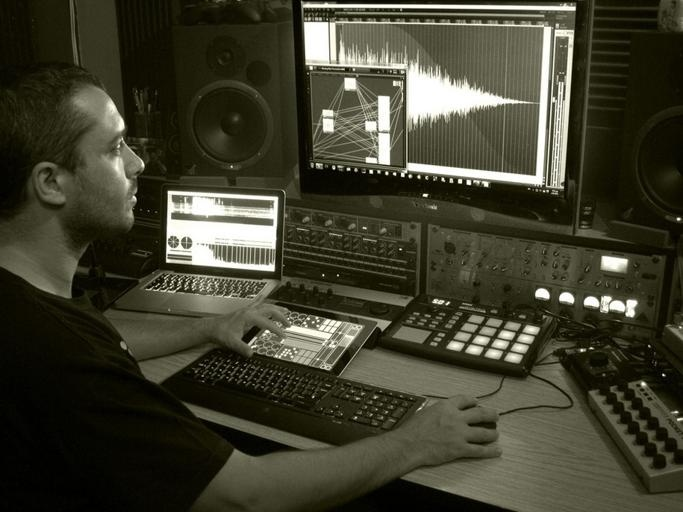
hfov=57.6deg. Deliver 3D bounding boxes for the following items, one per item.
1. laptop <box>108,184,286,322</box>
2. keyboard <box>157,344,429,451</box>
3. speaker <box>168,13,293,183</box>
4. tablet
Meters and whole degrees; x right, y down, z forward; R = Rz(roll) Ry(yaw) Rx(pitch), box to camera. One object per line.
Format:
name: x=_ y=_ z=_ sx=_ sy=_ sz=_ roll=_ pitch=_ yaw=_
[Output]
laptop: x=-0.443 y=-0.026 z=2.167 sx=0.564 sy=0.452 sz=0.381 roll=-2 pitch=18 yaw=-8
keyboard: x=-0.163 y=0.375 z=1.698 sx=0.706 sy=0.064 sz=0.308 roll=8 pitch=14 yaw=29
speaker: x=-0.361 y=-0.636 z=2.520 sx=0.588 sy=0.906 sz=0.517 roll=3 pitch=19 yaw=7
tablet: x=-0.122 y=0.257 z=1.879 sx=0.366 sy=0.036 sz=0.304 roll=7 pitch=29 yaw=21
